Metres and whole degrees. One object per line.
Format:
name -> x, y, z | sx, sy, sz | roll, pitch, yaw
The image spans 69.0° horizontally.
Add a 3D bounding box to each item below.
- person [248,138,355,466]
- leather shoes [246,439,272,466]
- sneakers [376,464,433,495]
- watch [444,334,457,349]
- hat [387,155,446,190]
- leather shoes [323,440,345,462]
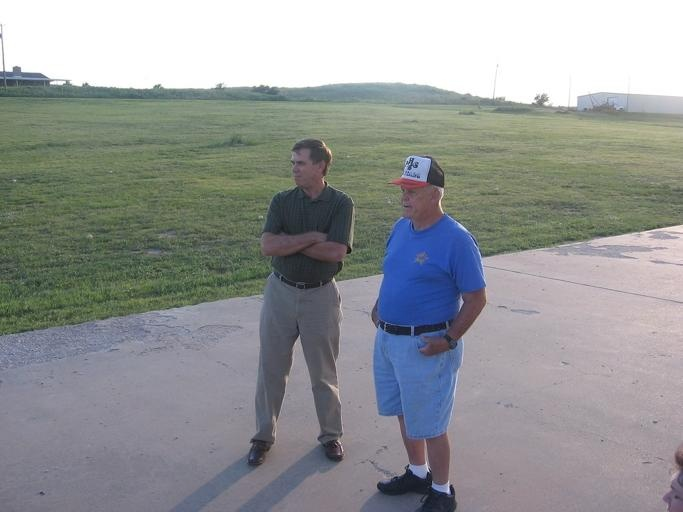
person -> -0.301, 0.269, 3.675 | 0.760, 2.192, 0.944 | 0, 15, 1
leather shoes -> -0.600, 1.375, 3.501 | 0.077, 0.086, 0.214 | 2, 1, 4
sneakers -> 0.417, 1.452, 3.316 | 0.418, 0.175, 0.150 | 1, 7, 2
watch -> 0.649, 0.506, 2.959 | 0.080, 0.026, 0.086 | 43, 2, 36
hat -> 0.468, -0.516, 3.065 | 0.292, 0.150, 0.195 | 0, 7, -9
leather shoes -> -0.062, 1.371, 3.593 | 0.158, 0.099, 0.206 | -2, 14, -9
